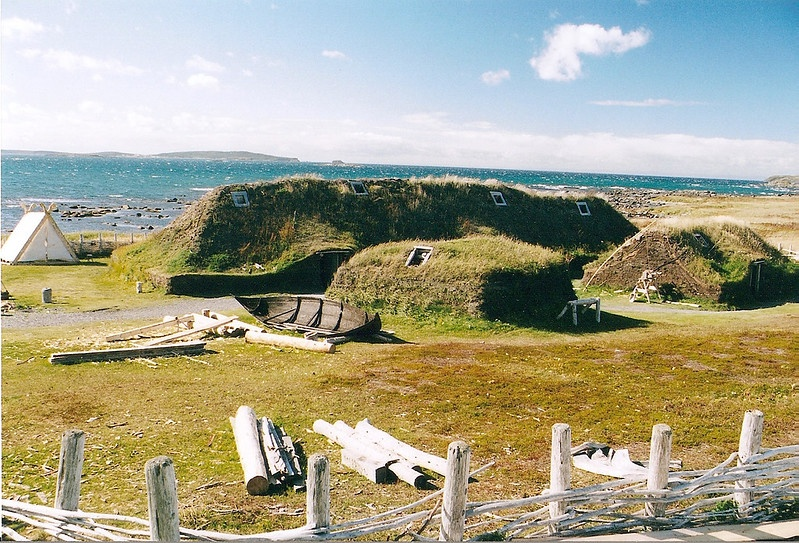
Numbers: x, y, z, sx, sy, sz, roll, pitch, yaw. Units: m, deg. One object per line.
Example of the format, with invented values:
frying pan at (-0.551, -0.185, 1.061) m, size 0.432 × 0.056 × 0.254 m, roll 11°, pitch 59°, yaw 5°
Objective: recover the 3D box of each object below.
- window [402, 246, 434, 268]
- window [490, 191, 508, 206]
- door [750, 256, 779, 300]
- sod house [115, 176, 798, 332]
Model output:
window at (1.014, -0.709, 38.514) m, size 1.353 × 1.017 × 1.177 m, roll 0°, pitch 6°, yaw 4°
window at (7.035, -5.113, 54.660) m, size 1.316 × 1.180 × 0.133 m, roll -9°, pitch -32°, yaw -32°
door at (21.165, 0.447, 44.829) m, size 1.885 × 2.543 × 0.800 m, roll 2°, pitch 1°, yaw -29°
sod house at (4.289, -2.027, 45.722) m, size 39.946 × 7.207 × 19.799 m, roll -2°, pitch 7°, yaw -20°
